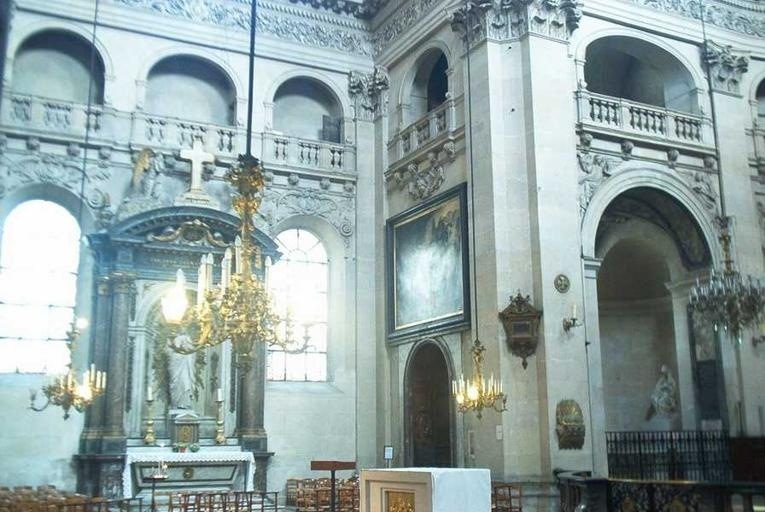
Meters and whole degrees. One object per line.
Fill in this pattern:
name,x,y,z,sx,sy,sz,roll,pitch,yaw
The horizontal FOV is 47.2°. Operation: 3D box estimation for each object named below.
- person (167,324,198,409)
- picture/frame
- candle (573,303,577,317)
person,-5.052,2.971,22.245,0.649,2.398,0.591,1,26,-14
picture/frame,1.278,0.301,22.814,0.293,3.936,3.848,6,-14,-27
candle,4.524,1.282,20.612,0.141,0.312,0.032,10,-18,-35
